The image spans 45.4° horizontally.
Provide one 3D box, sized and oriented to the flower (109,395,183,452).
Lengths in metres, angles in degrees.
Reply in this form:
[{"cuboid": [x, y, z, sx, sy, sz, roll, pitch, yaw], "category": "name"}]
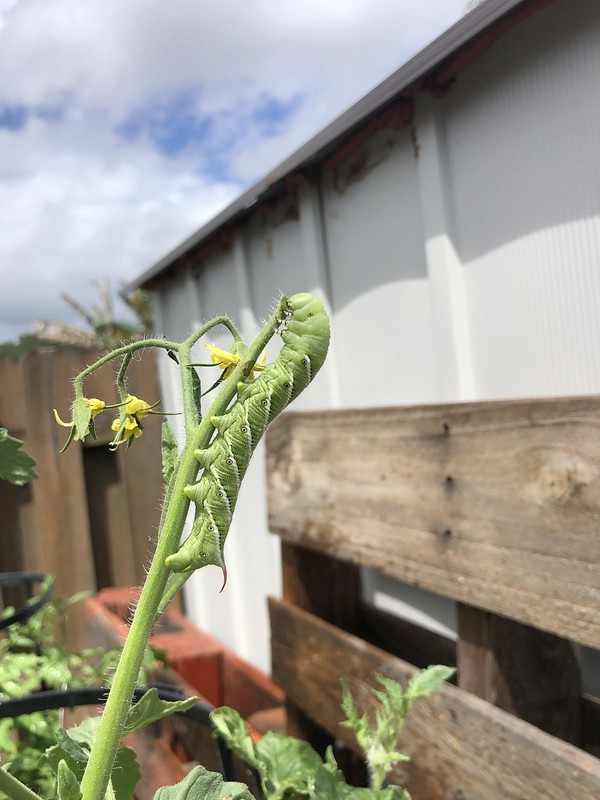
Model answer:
[{"cuboid": [-0.193, 0.016, 0.813, 0.072, 0.029, 0.073, -11, 19, -29], "category": "flower"}]
